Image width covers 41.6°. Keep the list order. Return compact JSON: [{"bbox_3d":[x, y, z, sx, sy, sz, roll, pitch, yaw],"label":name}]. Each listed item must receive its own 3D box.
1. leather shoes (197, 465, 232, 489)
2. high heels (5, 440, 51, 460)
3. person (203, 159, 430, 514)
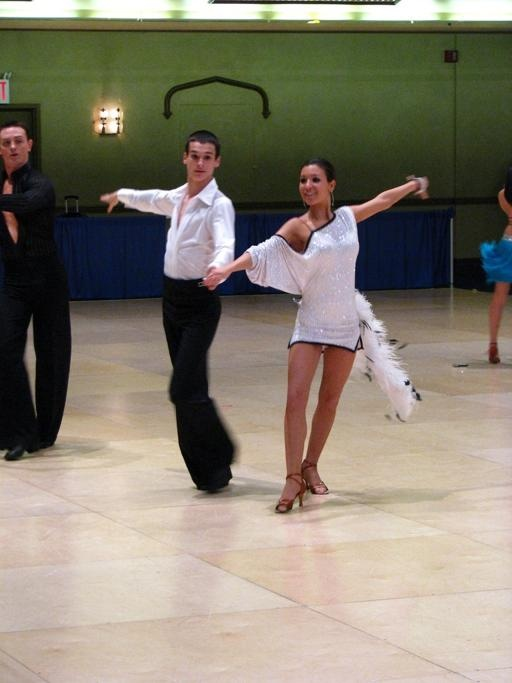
[{"bbox_3d":[-0.201,0.681,3.381,0.106,0.088,0.152,-4,8,24],"label":"leather shoes"},{"bbox_3d":[-1.402,0.675,4.104,0.092,0.097,0.258,-14,-22,3],"label":"high heels"},{"bbox_3d":[0.221,-0.040,3.125,1.016,1.440,0.410,-3,1,-27],"label":"person"}]
